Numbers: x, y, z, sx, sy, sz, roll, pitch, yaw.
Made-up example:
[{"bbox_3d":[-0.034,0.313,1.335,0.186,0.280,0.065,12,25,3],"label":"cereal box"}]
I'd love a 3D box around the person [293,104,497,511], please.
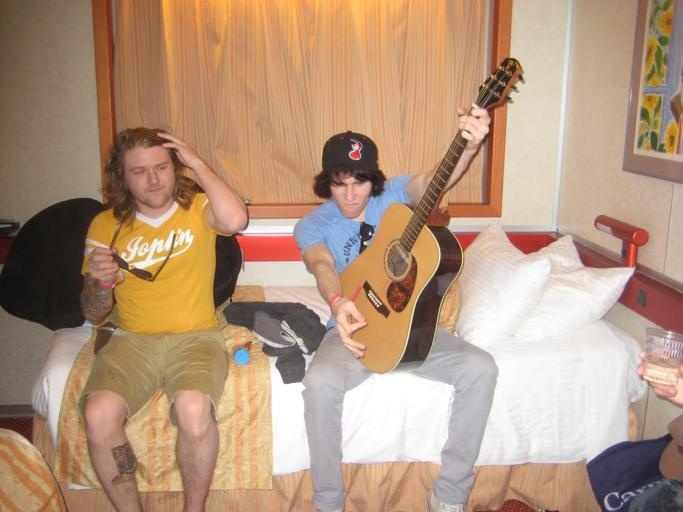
[{"bbox_3d":[0.248,0.256,2.738,0.251,2.123,0.834,4,-2,-29],"label":"person"}]

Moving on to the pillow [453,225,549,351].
[{"bbox_3d":[0.781,0.188,2.862,0.139,0.493,0.485,19,8,-21],"label":"pillow"}]

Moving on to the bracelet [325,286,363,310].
[{"bbox_3d":[0.014,0.194,2.640,0.057,0.020,0.145,32,43,22],"label":"bracelet"}]

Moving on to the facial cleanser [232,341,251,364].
[{"bbox_3d":[-0.461,0.463,2.733,0.057,0.087,0.019,-2,-16,33],"label":"facial cleanser"}]
